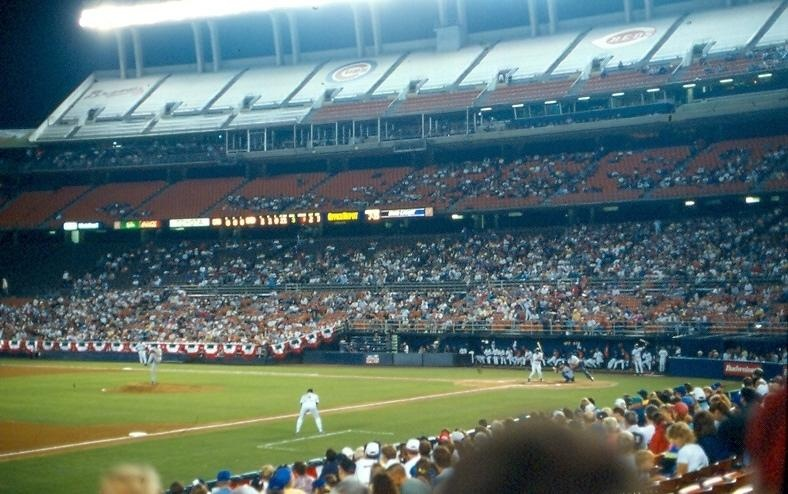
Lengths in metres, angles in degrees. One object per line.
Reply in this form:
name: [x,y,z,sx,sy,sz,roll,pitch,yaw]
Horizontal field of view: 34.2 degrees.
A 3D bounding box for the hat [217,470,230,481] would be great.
hat: [-11.796,15.782,88.078,0.784,0.770,0.910,5,-14,-15]
